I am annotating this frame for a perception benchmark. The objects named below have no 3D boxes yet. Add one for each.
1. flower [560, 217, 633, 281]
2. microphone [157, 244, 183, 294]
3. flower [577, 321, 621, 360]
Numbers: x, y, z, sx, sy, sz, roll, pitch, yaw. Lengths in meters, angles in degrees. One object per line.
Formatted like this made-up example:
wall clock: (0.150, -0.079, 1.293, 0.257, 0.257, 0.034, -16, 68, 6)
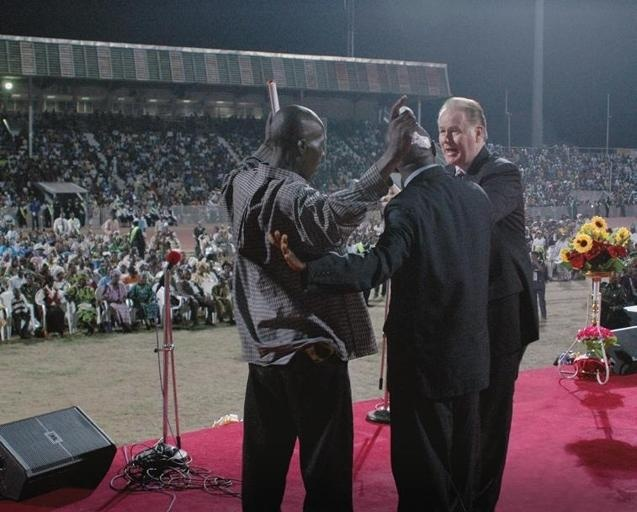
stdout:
flower: (3.851, -0.223, 13.139, 0.835, 0.669, 0.864, -13, -14, 42)
microphone: (-1.766, 0.255, 11.032, 0.132, 0.560, 0.174, 6, -5, 38)
flower: (4.040, 1.281, 13.540, 0.756, 0.637, 0.817, -5, -10, 23)
